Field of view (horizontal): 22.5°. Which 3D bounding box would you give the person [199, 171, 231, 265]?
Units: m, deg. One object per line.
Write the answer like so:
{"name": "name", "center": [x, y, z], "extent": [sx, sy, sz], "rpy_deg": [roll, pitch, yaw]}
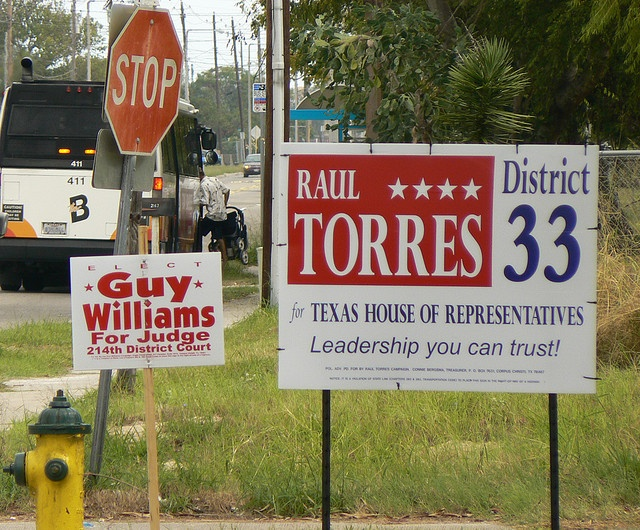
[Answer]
{"name": "person", "center": [-1.776, -0.879, 26.949], "extent": [0.575, 1.566, 0.379], "rpy_deg": [-9, 5, -27]}
